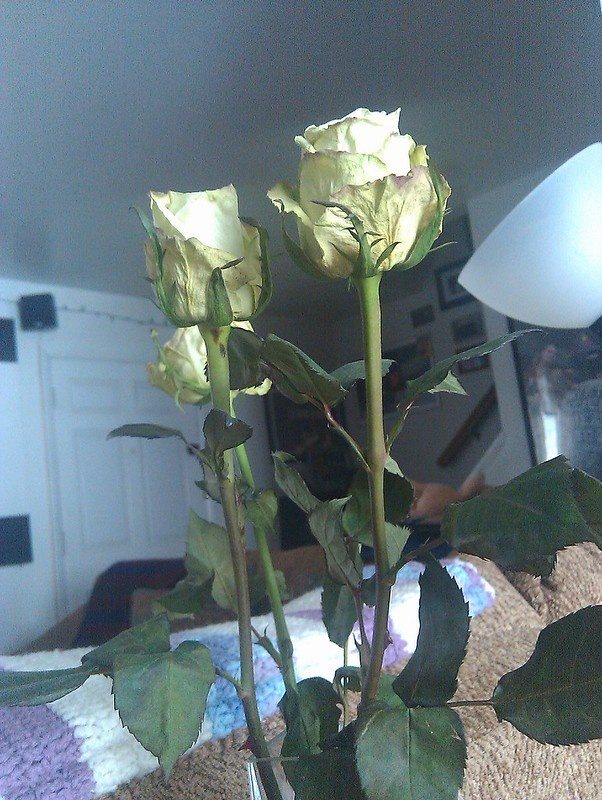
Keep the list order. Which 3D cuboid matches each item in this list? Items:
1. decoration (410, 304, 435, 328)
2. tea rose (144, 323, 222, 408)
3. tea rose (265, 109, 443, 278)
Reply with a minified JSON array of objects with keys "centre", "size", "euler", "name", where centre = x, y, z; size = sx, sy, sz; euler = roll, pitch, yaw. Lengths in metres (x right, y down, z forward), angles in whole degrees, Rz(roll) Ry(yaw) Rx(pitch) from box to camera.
[{"centre":[0.138,-0.093,0.737],"size":[0.026,0.025,0.006],"euler":[-13,7,-20],"name":"decoration"},{"centre":[-0.079,-0.020,0.387],"size":[0.023,0.035,0.034],"euler":[-23,-29,19],"name":"tea rose"},{"centre":[0.027,-0.084,0.291],"size":[0.075,0.071,0.090],"euler":[-1,2,14],"name":"tea rose"}]
